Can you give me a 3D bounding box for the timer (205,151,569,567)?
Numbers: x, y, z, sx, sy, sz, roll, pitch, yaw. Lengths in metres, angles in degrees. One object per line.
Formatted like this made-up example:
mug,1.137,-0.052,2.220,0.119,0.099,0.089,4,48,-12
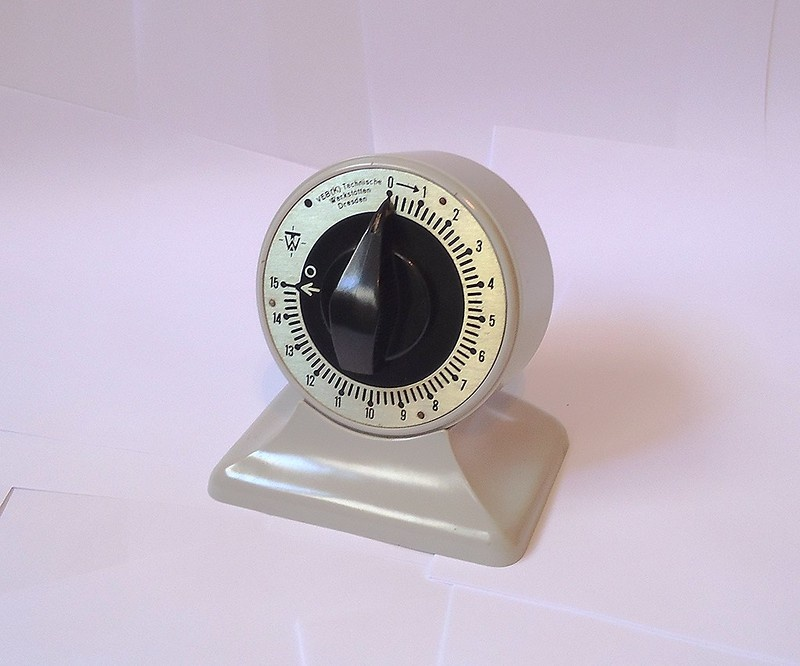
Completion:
timer,0.002,-0.009,1.441,0.505,0.421,0.543,4,-79,19
